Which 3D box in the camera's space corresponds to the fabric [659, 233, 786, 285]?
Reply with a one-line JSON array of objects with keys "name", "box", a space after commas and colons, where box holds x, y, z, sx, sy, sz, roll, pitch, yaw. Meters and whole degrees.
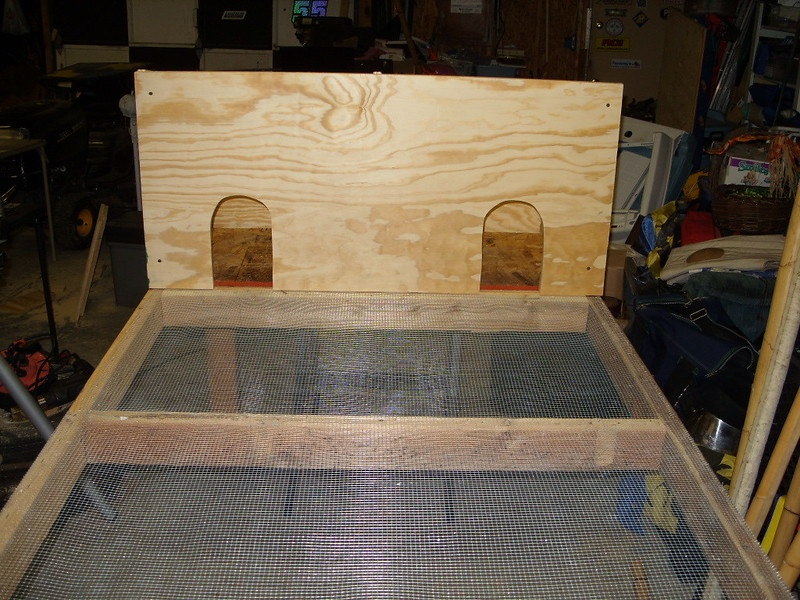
[{"name": "fabric", "box": [1.395, -0.189, 2.446, 0.326, 0.086, 0.312, -5, 15, 27]}]
